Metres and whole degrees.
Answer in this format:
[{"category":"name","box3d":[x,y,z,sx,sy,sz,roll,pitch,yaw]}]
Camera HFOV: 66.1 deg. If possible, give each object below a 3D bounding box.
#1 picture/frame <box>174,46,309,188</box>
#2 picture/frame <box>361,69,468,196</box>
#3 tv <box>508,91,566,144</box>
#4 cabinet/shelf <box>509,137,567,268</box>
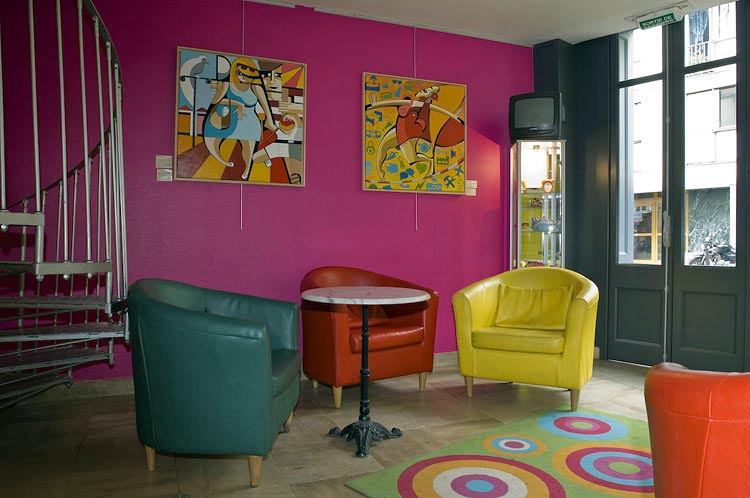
[{"category":"picture/frame","box3d":[-1.401,-1.313,5.737,1.304,1.391,0.050,3,3,-18]},{"category":"picture/frame","box3d":[0.373,-1.282,6.344,1.317,1.395,0.136,2,-3,-24]},{"category":"tv","box3d":[1.820,-1.421,6.602,0.708,0.679,0.467,3,7,29]},{"category":"cabinet/shelf","box3d":[1.932,-0.480,6.745,0.579,1.670,0.567,-2,26,11]}]
